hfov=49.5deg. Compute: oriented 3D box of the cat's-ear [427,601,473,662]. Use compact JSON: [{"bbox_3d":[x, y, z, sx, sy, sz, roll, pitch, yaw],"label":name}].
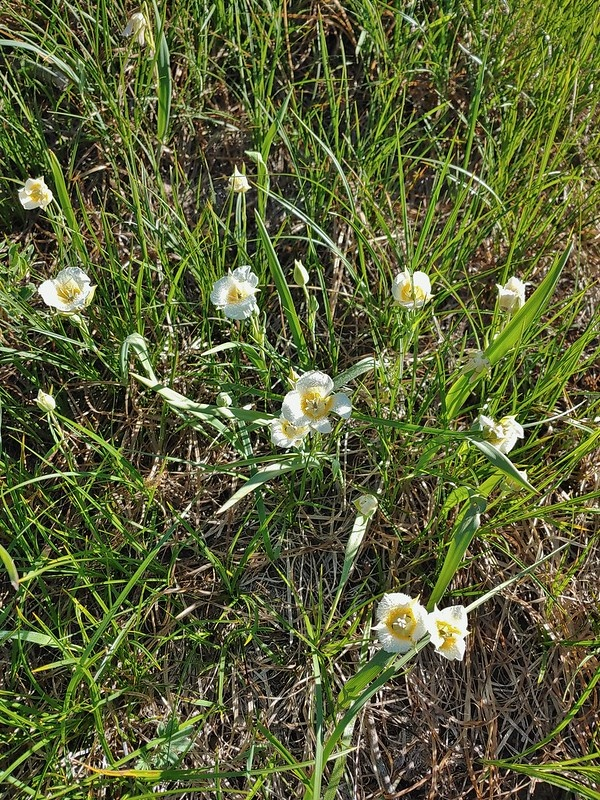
[{"bbox_3d":[0.296,0.457,1.319,0.101,0.077,0.107,18,66,-2],"label":"cat's-ear"}]
